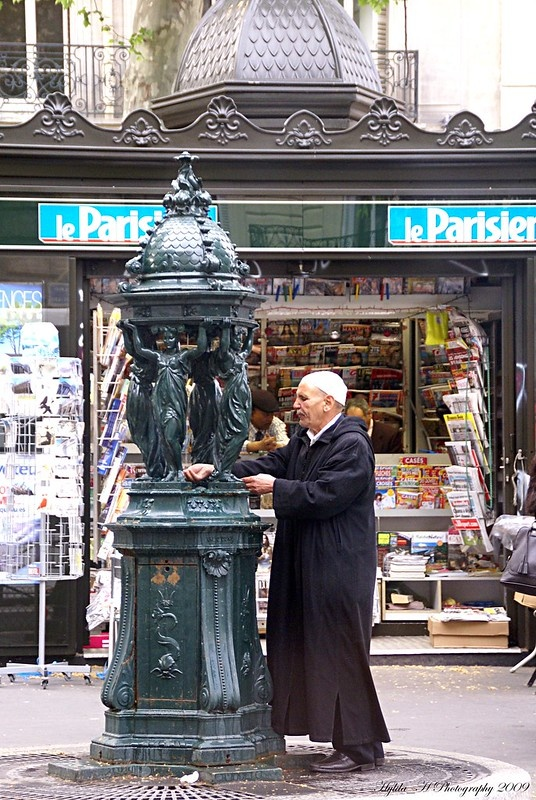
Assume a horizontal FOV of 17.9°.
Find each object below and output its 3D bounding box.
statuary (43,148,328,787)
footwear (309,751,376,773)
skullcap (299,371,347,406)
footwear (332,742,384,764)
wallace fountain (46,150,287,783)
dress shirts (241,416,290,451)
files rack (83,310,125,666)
[{"bbox_3d":[-0.342,0.240,7.406,0.765,2.593,0.864,1,0,-17],"label":"statuary"},{"bbox_3d":[0.328,1.553,7.274,0.240,0.122,0.097,5,-13,-12],"label":"footwear"},{"bbox_3d":[0.261,-0.062,7.689,0.163,0.128,0.141,7,1,-9],"label":"skullcap"},{"bbox_3d":[0.400,1.506,7.378,0.235,0.126,0.091,9,-10,-17],"label":"footwear"},{"bbox_3d":[-0.353,0.336,7.415,0.902,2.503,0.958,1,-5,-36],"label":"wallace fountain"},{"bbox_3d":[-0.009,0.270,12.203,0.215,0.112,0.295,-7,26,25],"label":"dress shirts"},{"bbox_3d":[-1.048,0.585,10.966,0.265,2.345,0.440,-3,4,-25],"label":"files rack"}]
